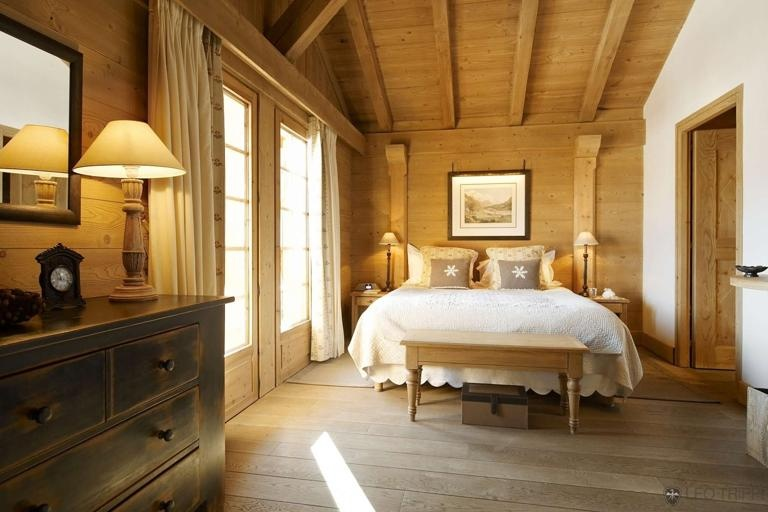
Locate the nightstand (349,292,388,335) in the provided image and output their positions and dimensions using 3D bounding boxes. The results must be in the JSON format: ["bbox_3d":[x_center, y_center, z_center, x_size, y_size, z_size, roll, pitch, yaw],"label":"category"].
[{"bbox_3d":[-0.192,0.701,6.249,0.600,0.648,0.482,0,-3,1],"label":"nightstand"}]

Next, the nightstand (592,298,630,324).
[{"bbox_3d":[2.563,0.590,5.748,0.425,0.340,0.307,-1,-6,13],"label":"nightstand"}]

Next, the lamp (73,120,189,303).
[{"bbox_3d":[-1.481,-0.279,2.957,0.546,1.047,0.469,-1,3,-29],"label":"lamp"}]
